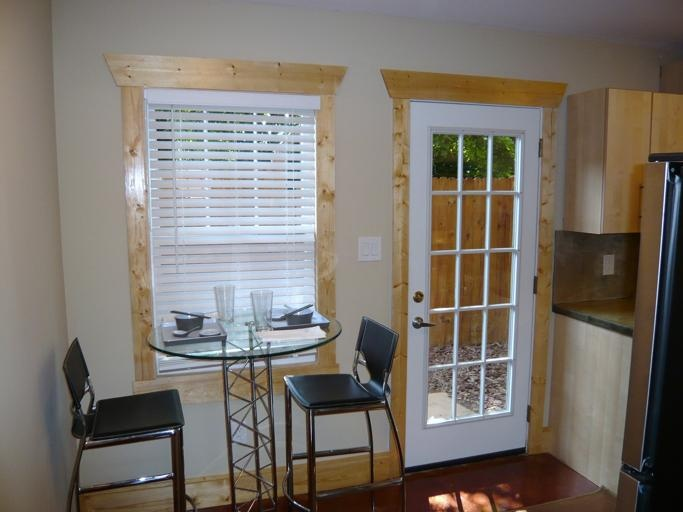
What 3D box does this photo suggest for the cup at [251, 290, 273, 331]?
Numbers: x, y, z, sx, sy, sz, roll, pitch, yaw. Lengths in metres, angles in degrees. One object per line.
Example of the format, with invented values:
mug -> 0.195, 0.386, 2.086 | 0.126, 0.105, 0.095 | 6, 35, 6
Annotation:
cup -> -0.427, 0.281, 3.038 | 0.107, 0.193, 0.206 | -4, 7, -10

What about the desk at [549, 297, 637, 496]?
desk -> 1.738, 0.903, 3.914 | 0.595, 0.932, 0.624 | 23, -16, -25

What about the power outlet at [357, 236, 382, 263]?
power outlet -> 0.169, -0.050, 3.605 | 0.161, 0.169, 0.016 | 1, 4, -19

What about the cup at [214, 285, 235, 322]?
cup -> -0.635, 0.257, 3.128 | 0.089, 0.196, 0.133 | 1, 8, 25

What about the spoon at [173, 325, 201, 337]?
spoon -> -0.807, 0.389, 2.932 | 0.094, 0.019, 0.051 | -9, 10, -18

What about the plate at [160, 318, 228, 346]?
plate -> -0.793, 0.402, 2.975 | 0.321, 0.050, 0.351 | -5, 7, -19
